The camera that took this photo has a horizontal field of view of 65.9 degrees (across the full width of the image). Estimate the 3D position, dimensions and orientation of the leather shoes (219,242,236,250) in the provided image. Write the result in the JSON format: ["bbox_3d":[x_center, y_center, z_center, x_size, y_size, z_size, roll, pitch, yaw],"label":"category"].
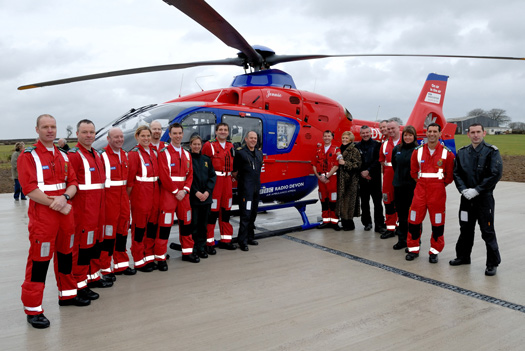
[{"bbox_3d":[-0.647,1.266,7.281,0.382,0.142,0.123,0,5,12],"label":"leather shoes"}]

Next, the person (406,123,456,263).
[{"bbox_3d":[2.731,0.294,6.607,0.661,2.250,0.637,5,15,20],"label":"person"}]

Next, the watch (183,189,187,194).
[{"bbox_3d":[-1.229,0.264,6.324,0.052,0.080,0.064,-2,14,-7],"label":"watch"}]

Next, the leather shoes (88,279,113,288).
[{"bbox_3d":[-2.305,1.536,5.796,0.369,0.129,0.117,0,6,-15],"label":"leather shoes"}]

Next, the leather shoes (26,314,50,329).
[{"bbox_3d":[-2.715,1.772,4.899,0.304,0.113,0.131,2,0,25],"label":"leather shoes"}]

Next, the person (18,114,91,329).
[{"bbox_3d":[-2.665,0.544,4.964,0.517,2.511,0.835,4,15,18],"label":"person"}]

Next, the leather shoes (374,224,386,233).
[{"bbox_3d":[2.373,1.071,8.160,0.148,0.162,0.417,-1,-8,13],"label":"leather shoes"}]

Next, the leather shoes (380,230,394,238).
[{"bbox_3d":[2.426,1.155,7.843,0.353,0.128,0.114,6,-7,-35],"label":"leather shoes"}]

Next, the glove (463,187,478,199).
[{"bbox_3d":[3.117,0.271,6.052,0.176,0.069,0.139,-30,28,-5],"label":"glove"}]

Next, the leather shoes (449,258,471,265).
[{"bbox_3d":[3.141,1.372,6.519,0.386,0.140,0.122,3,0,-1],"label":"leather shoes"}]

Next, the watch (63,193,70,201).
[{"bbox_3d":[-2.421,0.267,4.978,0.064,0.028,0.072,20,-12,-1],"label":"watch"}]

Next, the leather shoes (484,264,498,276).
[{"bbox_3d":[3.451,1.439,6.087,0.208,0.118,0.112,-1,13,-4],"label":"leather shoes"}]

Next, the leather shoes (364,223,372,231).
[{"bbox_3d":[2.194,1.085,8.418,0.088,0.088,0.231,-4,-10,28],"label":"leather shoes"}]

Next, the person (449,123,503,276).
[{"bbox_3d":[3.329,0.345,6.200,0.685,2.244,0.865,-1,14,-3],"label":"person"}]

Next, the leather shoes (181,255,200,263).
[{"bbox_3d":[-1.181,1.369,6.652,0.346,0.121,0.112,0,5,21],"label":"leather shoes"}]
